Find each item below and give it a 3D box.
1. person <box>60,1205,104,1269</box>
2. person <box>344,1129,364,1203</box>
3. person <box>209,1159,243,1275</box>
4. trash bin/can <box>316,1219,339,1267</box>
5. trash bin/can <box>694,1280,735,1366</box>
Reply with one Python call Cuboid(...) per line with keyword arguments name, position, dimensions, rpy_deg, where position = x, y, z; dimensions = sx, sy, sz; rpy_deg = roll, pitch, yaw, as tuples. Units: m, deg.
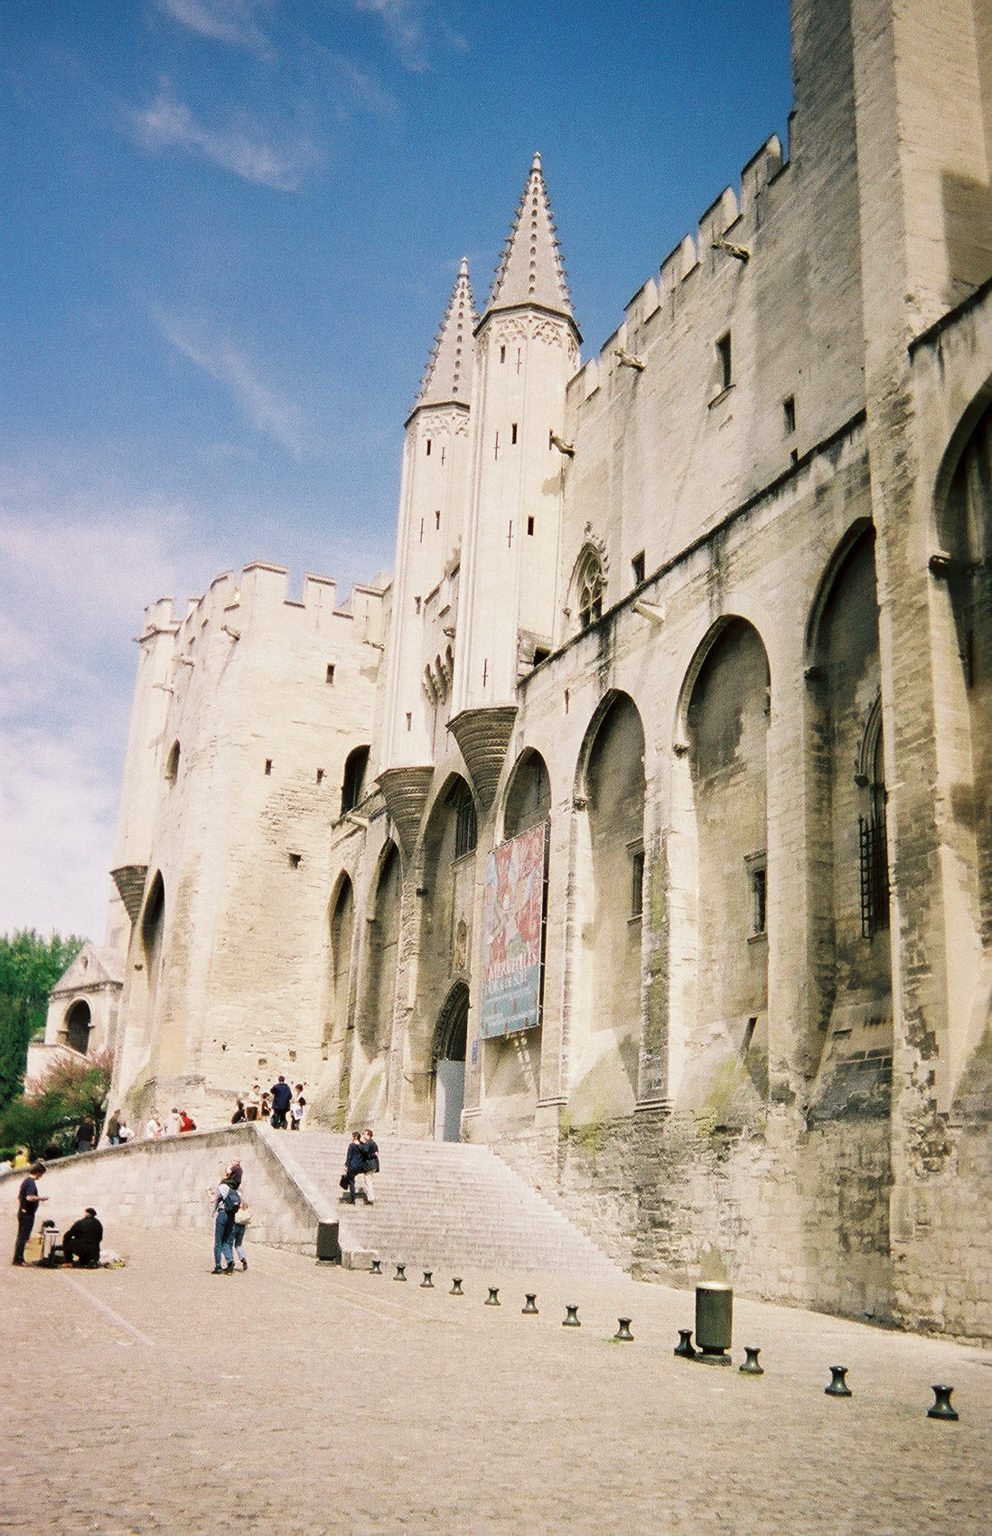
Cuboid(name="person", position=(-4.492, 5.125, 13.514), dimensions=(0.419, 0.591, 0.787), rpy_deg=(11, -21, -16))
Cuboid(name="person", position=(-1.996, 5.548, 17.274), dimensions=(0.245, 0.940, 0.675), rpy_deg=(7, -20, -5))
Cuboid(name="person", position=(-2.855, 4.818, 13.242), dimensions=(0.268, 1.065, 0.586), rpy_deg=(9, -20, -10))
Cuboid(name="trash bin/can", position=(-1.956, 5.551, 14.447), dimensions=(0.264, 0.439, 0.264), rpy_deg=(-14, -22, 37))
Cuboid(name="trash bin/can", position=(1.498, 3.770, 8.452), dimensions=(0.224, 0.465, 0.430), rpy_deg=(3, -20, 7))
